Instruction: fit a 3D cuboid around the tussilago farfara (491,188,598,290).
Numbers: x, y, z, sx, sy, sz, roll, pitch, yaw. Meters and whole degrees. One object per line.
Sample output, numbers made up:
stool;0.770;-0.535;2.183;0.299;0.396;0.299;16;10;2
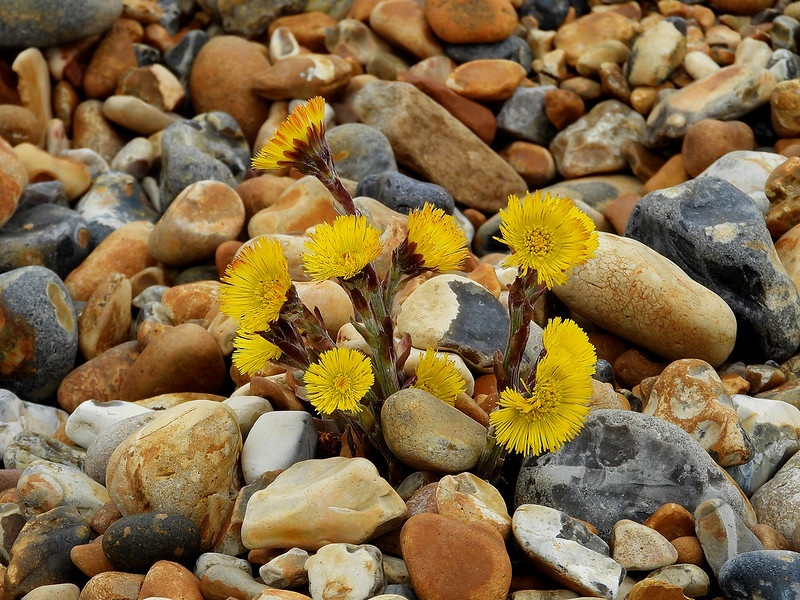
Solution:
tussilago farfara;0.540;-0.277;3.715;0.299;0.384;0.308;1;19;4

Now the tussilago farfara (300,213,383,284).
tussilago farfara;-0.216;-0.185;3.755;0.296;0.132;0.224;-11;73;-1

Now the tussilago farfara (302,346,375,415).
tussilago farfara;-0.223;0.293;3.699;0.246;0.117;0.216;-13;73;-2

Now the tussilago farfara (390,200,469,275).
tussilago farfara;0.125;-0.201;3.849;0.258;0.249;0.243;-45;68;7

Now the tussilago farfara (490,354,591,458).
tussilago farfara;0.525;0.400;3.696;0.417;0.224;0.272;-36;74;-9
